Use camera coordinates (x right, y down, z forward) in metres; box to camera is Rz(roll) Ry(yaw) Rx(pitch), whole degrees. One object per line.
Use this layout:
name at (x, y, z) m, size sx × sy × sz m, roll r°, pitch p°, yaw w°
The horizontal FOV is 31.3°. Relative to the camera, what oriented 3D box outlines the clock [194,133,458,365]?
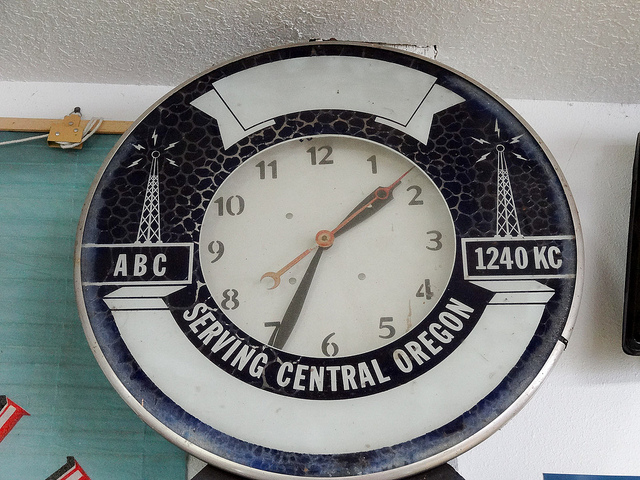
clock at (0.027, 0.022, 3.251) m, size 0.726 × 0.146 × 0.676 m, roll -6°, pitch 83°, yaw 0°
